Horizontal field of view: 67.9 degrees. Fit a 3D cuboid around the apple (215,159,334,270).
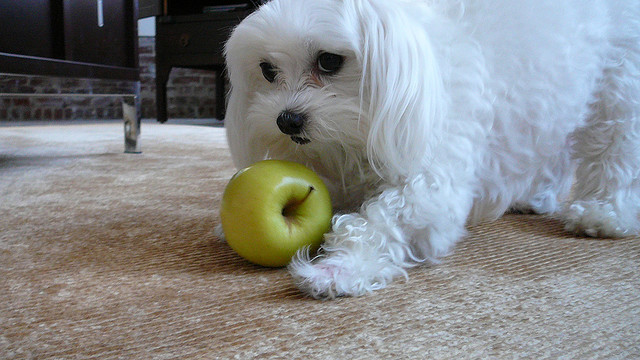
[{"bbox_3d":[-0.133,0.083,1.303,0.324,0.291,0.308,17,-25,-42],"label":"apple"}]
